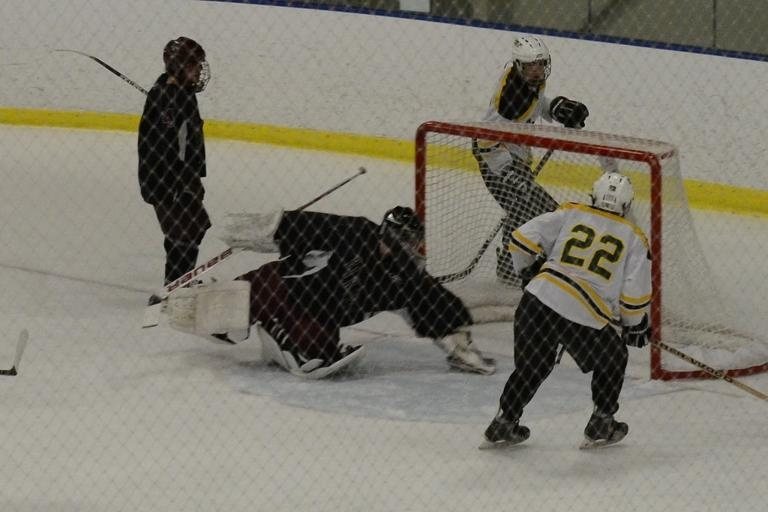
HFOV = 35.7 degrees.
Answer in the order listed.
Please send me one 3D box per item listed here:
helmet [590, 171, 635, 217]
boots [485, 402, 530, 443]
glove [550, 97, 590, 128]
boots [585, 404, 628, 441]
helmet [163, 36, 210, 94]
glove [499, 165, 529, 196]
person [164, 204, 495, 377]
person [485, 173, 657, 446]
[{"bbox_3d":[1.209,-0.323,6.417,0.208,0.221,0.221,15,6,8],"label":"helmet"},{"bbox_3d":[0.602,0.885,6.225,0.324,0.219,0.105,-7,28,-10],"label":"boots"},{"bbox_3d":[1.094,-0.871,7.184,0.224,0.156,0.169,8,35,-9],"label":"glove"},{"bbox_3d":[1.156,0.907,6.252,0.250,0.231,0.124,-10,37,-8],"label":"boots"},{"bbox_3d":[-1.135,-1.064,6.753,0.230,0.280,0.329,19,34,16],"label":"helmet"},{"bbox_3d":[0.799,-0.458,7.223,0.178,0.176,0.050,-17,0,-7],"label":"glove"},{"bbox_3d":[-0.274,0.146,6.767,2.021,0.897,0.793,8,27,6],"label":"person"},{"bbox_3d":[1.023,0.295,6.281,0.821,1.216,0.952,9,32,1],"label":"person"}]
